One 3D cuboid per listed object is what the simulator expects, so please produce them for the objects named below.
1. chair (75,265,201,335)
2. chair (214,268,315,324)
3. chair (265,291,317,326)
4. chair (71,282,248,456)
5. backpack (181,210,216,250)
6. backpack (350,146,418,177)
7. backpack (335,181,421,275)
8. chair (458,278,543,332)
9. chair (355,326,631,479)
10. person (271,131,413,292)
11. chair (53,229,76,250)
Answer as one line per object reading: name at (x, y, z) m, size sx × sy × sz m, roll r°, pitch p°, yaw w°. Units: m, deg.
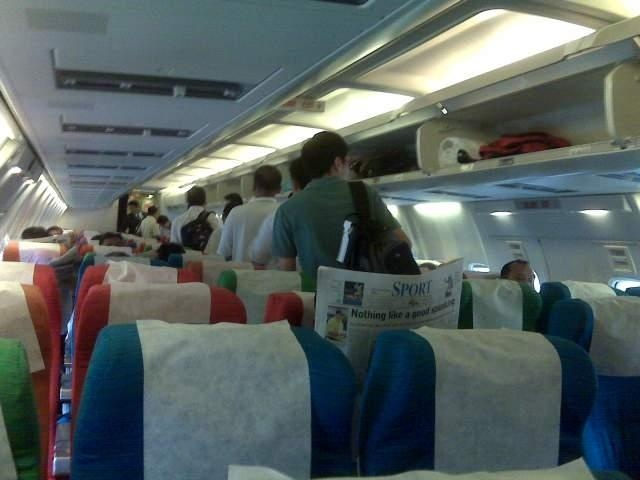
chair at (-1.009, 0.258, 2.491) m, size 0.424 × 0.266 × 0.402 m, roll 2°, pitch 5°, yaw -21°
chair at (-0.365, 0.273, 2.651) m, size 0.492 × 0.307 × 0.350 m, roll 6°, pitch -2°, yaw -18°
chair at (-0.114, 0.276, 1.921) m, size 0.156 × 0.132 × 0.148 m, roll 5°, pitch -8°, yaw -21°
chair at (-0.625, 0.404, 2.124) m, size 0.891 × 0.745 × 0.623 m, roll 8°, pitch -8°, yaw -29°
backpack at (-1.711, -0.112, 6.422) m, size 0.586 × 0.503 × 0.408 m, roll -1°, pitch 1°, yaw -42°
backpack at (0.821, -0.963, 5.941) m, size 0.499 × 0.119 × 0.528 m, roll -4°, pitch -5°, yaw -44°
backpack at (0.248, 0.007, 1.961) m, size 0.289 × 0.366 × 0.404 m, roll 1°, pitch -12°, yaw -25°
chair at (0.872, 0.318, 2.289) m, size 0.381 × 0.252 × 0.145 m, roll -4°, pitch -6°, yaw -10°
chair at (0.477, 0.446, 1.468) m, size 0.801 × 0.627 × 0.391 m, roll 7°, pitch -6°, yaw -6°
person at (0.107, -0.018, 3.005) m, size 0.848 × 0.457 × 1.387 m, roll -3°, pitch -36°, yaw 8°
chair at (-4.050, -0.012, 7.398) m, size 0.199 × 0.201 × 0.244 m, roll -4°, pitch -18°, yaw -30°
